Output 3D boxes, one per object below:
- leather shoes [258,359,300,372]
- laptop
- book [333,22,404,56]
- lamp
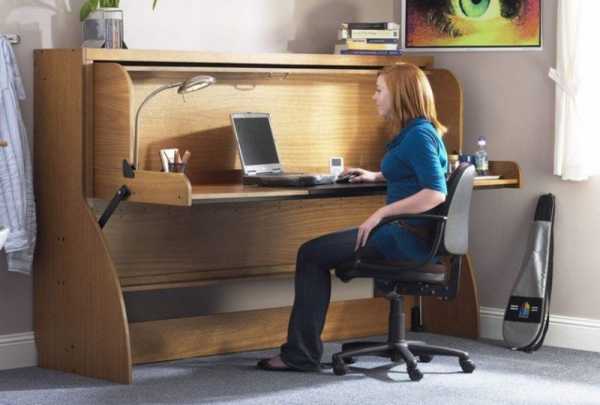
[{"bbox_3d":[-0.123,0.952,3.158,0.234,0.043,0.082,4,1,10],"label":"leather shoes"},{"bbox_3d":[-0.040,-0.337,3.471,0.620,0.493,0.539,1,5,31],"label":"laptop"},{"bbox_3d":[0.473,-1.117,3.724,0.314,0.128,0.291,-1,8,-10],"label":"book"},{"bbox_3d":[-0.754,-0.458,3.201,0.443,0.529,0.568,-1,6,-16],"label":"lamp"}]
